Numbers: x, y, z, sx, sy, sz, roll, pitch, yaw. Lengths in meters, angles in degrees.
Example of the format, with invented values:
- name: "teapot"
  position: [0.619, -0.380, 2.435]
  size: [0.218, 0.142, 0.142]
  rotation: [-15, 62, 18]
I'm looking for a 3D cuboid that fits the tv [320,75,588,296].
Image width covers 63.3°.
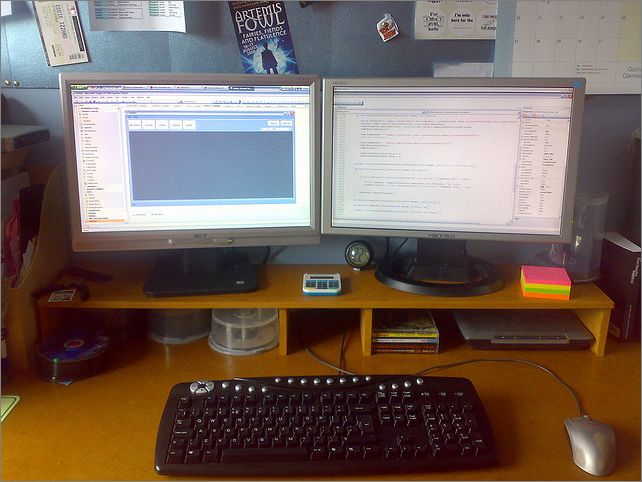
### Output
- name: "tv"
  position: [0.331, -0.154, 1.321]
  size: [0.624, 0.466, 0.057]
  rotation: [1, 15, 5]

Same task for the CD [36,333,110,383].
- name: "CD"
  position: [-0.586, 0.272, 1.231]
  size: [0.171, 0.089, 0.155]
  rotation: [2, 19, -4]

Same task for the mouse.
- name: "mouse"
  position: [0.540, 0.407, 1.037]
  size: [0.085, 0.055, 0.112]
  rotation: [1, 23, 4]

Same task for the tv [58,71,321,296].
- name: "tv"
  position: [-0.328, -0.160, 1.304]
  size: [0.622, 0.466, 0.062]
  rotation: [-1, 16, -5]
